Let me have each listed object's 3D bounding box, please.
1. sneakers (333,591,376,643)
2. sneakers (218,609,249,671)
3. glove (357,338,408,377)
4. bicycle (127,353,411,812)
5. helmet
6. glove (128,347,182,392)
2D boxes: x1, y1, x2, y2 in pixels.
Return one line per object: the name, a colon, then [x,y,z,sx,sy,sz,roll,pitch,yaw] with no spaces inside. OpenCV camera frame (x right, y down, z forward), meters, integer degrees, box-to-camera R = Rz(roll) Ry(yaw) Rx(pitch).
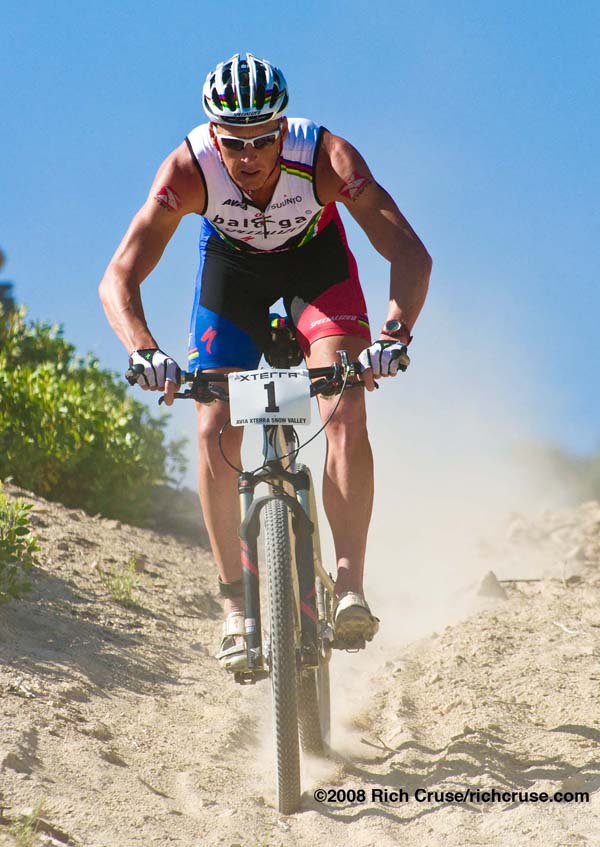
sneakers: [0.217,0.757,4.051,0.138,0.101,0.220,3,-45,-3]
sneakers: [-0.260,0.832,4.043,0.159,0.229,0.103,-3,-7,5]
glove: [0.289,-0.221,3.615,0.246,0.227,0.089,0,-59,6]
bicycle: [-0.069,0.552,3.919,0.703,1.661,0.802,5,6,5]
helmet: [-0.212,-1.282,4.032,0.313,0.304,0.215,5,6,10]
glove: [-0.526,-0.186,3.658,0.176,0.140,0.252,1,6,-25]
